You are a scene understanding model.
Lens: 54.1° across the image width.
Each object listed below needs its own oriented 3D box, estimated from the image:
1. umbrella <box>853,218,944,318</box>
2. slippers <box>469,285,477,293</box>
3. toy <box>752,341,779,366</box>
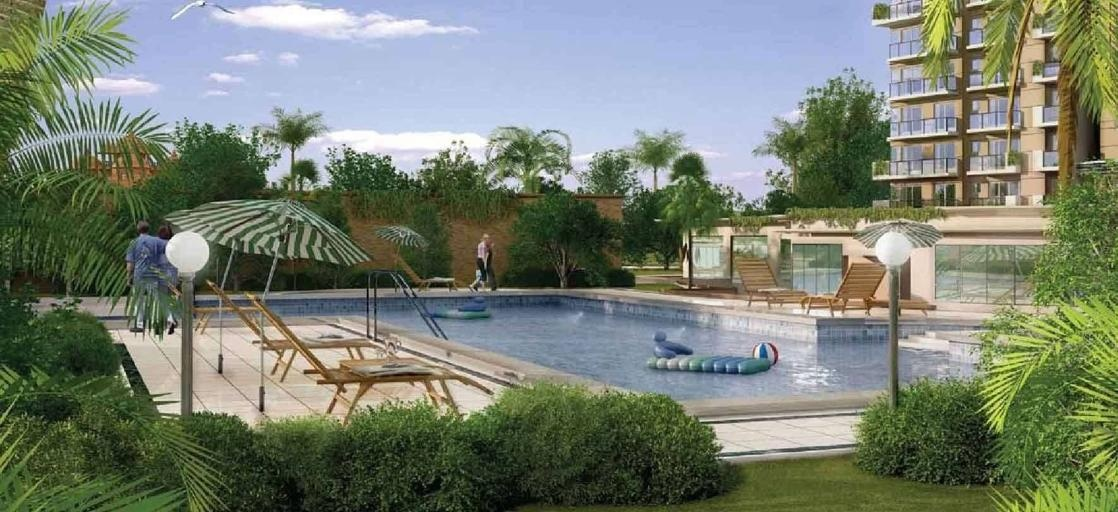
[{"bbox_3d":[9.802,0.362,32.099,2.521,2.596,2.644,-1,-7,37],"label":"umbrella"},{"bbox_3d":[-3.784,1.530,49.163,0.231,0.180,0.551,-9,11,-22],"label":"slippers"},{"bbox_3d":[7.043,3.263,36.769,0.824,0.752,0.787,-3,9,-17],"label":"toy"}]
